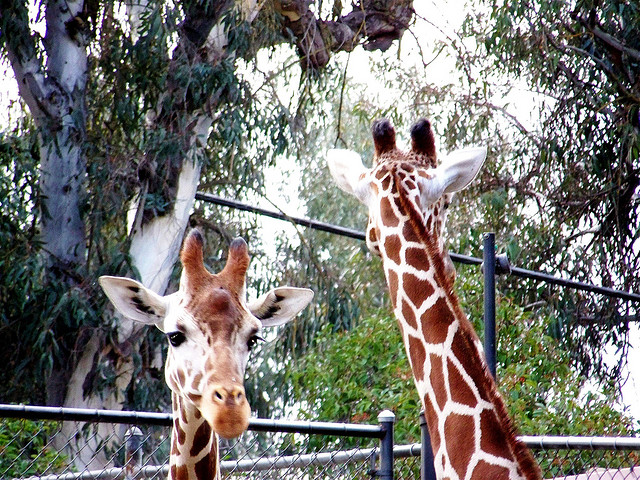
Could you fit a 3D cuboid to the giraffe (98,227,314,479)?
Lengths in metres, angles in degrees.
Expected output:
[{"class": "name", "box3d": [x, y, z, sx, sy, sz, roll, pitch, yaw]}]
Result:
[{"class": "giraffe", "box3d": [-1.056, 0.848, 13.547, 1.746, 2.966, 1.682, 9, -29, -18]}]

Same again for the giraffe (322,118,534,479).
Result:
[{"class": "giraffe", "box3d": [0.984, 0.679, 13.847, 1.021, 3.680, 2.140, -9, -23, 2]}]
